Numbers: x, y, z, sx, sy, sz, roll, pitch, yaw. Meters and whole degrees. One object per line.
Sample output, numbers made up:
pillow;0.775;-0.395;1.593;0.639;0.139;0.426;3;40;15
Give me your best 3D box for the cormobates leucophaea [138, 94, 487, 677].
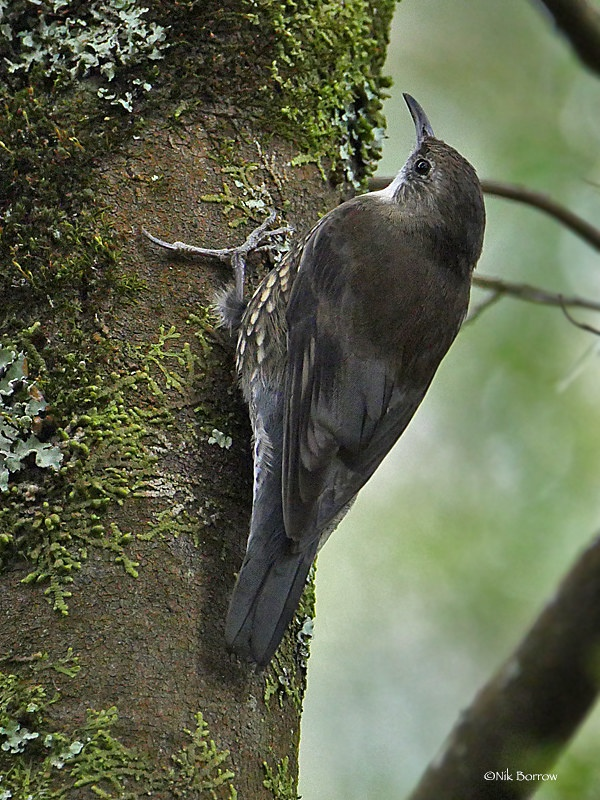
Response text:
cormobates leucophaea;0.203;-0.018;3.991;0.876;1.037;1.632;56;37;-56
